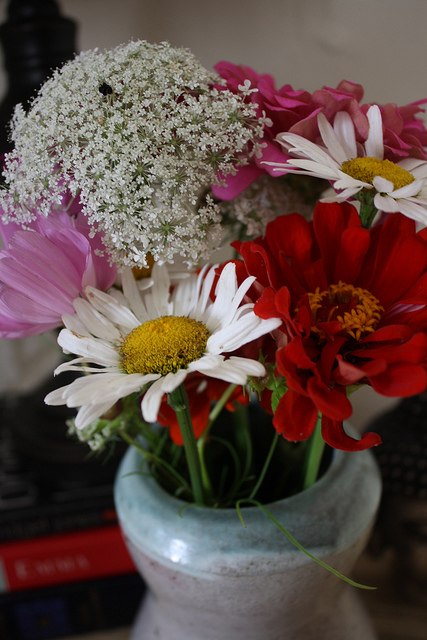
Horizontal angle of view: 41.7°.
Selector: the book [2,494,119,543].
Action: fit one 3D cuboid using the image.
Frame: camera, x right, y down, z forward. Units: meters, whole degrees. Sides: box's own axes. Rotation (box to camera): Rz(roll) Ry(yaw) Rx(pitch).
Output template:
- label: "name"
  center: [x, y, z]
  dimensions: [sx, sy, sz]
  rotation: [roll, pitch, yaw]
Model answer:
- label: "book"
  center: [-0.140, 0.186, 0.522]
  dimensions: [0.080, 0.072, 0.017]
  rotation: [-5, 79, -17]
